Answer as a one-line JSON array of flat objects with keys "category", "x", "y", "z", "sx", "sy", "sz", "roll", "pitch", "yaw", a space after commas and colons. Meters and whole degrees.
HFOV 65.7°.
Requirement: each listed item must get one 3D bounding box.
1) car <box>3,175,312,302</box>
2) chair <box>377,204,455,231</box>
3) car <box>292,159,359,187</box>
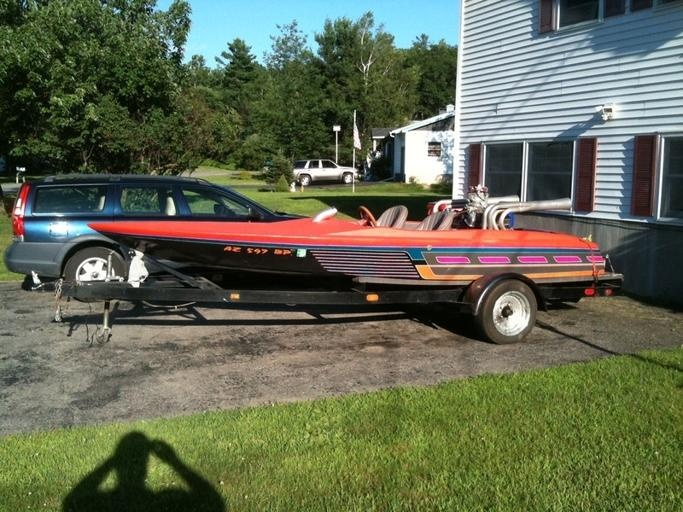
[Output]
[{"category": "car", "x": -3.529, "y": -0.410, "z": 8.233, "sx": 4.465, "sy": 1.197, "sz": 1.850, "roll": -2, "pitch": 7, "yaw": -16}, {"category": "chair", "x": 0.987, "y": -0.513, "z": 7.536, "sx": 0.861, "sy": 0.250, "sz": 0.492, "roll": 6, "pitch": 2, "yaw": 2}, {"category": "car", "x": -1.172, "y": -6.026, "z": 38.092, "sx": 4.574, "sy": 1.429, "sz": 2.095, "roll": -3, "pitch": 12, "yaw": -10}]
